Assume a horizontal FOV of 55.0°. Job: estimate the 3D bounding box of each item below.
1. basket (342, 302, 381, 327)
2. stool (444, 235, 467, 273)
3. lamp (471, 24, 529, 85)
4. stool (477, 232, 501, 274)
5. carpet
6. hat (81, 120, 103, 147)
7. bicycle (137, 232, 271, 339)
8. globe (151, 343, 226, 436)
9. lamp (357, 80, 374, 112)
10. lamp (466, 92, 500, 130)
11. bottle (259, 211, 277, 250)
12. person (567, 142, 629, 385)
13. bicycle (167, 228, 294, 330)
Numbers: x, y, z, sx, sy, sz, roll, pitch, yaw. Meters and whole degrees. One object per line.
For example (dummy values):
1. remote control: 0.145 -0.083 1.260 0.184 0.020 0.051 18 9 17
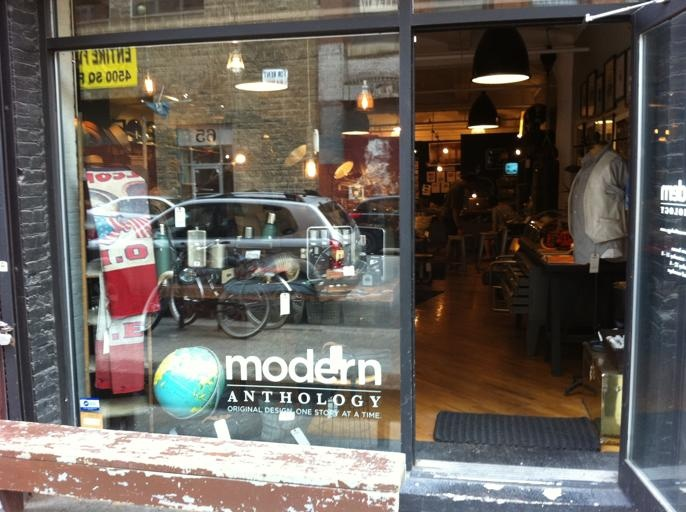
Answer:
1. basket: 0.112 0.354 4.043 0.250 0.136 0.169 3 -9 12
2. stool: 2.071 -0.133 11.938 0.337 0.586 1.146 -1 8 10
3. lamp: 1.499 -1.928 6.205 0.529 0.572 0.518 -3 6 -25
4. stool: 2.601 -0.160 11.816 0.420 0.612 1.819 -1 9 12
5. carpet: 1.203 1.204 4.608 1.121 0.060 0.524 -1 9 9
6. hat: -1.635 -0.799 4.286 0.120 0.150 0.159 10 27 16
7. bicycle: -0.841 0.222 4.551 0.984 0.619 0.449 4 7 16
8. globe: -0.995 0.890 4.389 0.473 0.399 0.492 -3 -25 -1
9. lamp: 0.134 -0.958 3.945 0.104 0.182 0.034 -1 8 11
10. lamp: 2.076 -2.192 9.780 0.471 0.495 0.468 -1 4 -11
11. bottle: -0.458 -0.172 4.123 0.096 0.224 0.022 0 8 21
12. person: 2.112 0.021 5.483 0.448 1.904 0.722 1 8 22
13. bicycle: -0.774 0.155 4.484 0.966 0.585 0.436 6 9 21
